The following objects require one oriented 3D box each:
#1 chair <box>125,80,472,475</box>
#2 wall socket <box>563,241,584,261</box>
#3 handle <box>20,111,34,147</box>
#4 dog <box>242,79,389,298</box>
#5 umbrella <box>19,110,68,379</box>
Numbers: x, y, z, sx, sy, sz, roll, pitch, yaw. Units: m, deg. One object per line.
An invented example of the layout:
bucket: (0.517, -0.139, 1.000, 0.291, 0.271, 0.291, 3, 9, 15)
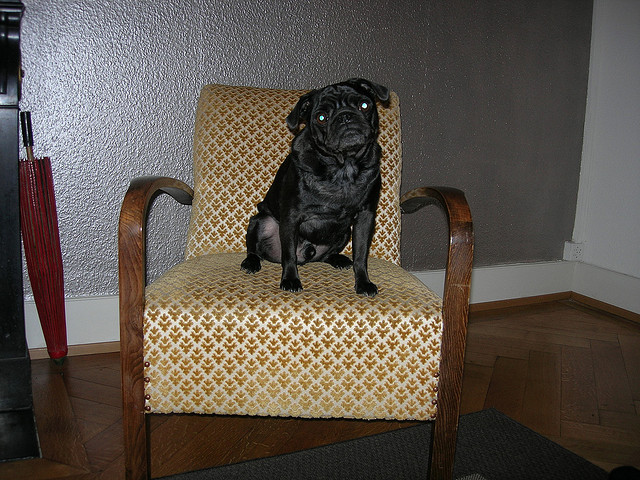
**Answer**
chair: (-0.083, 0.052, 1.893, 1.064, 1.272, 0.820, 3, 10, -3)
wall socket: (1.650, 0.065, 3.347, 0.116, 0.123, 0.064, 0, 4, -11)
handle: (-1.252, -0.476, 2.178, 0.044, 0.152, 0.156, -3, 11, -30)
dog: (-0.011, -0.216, 1.915, 0.446, 0.758, 0.661, -4, 19, -25)
umbrella: (-1.189, 0.030, 2.201, 0.155, 1.132, 0.226, -2, 11, -27)
